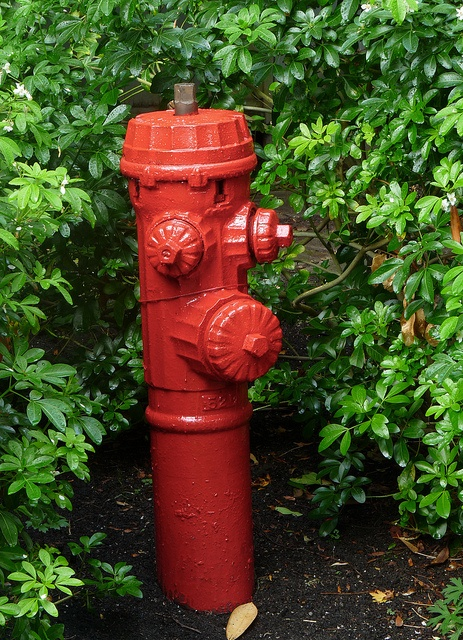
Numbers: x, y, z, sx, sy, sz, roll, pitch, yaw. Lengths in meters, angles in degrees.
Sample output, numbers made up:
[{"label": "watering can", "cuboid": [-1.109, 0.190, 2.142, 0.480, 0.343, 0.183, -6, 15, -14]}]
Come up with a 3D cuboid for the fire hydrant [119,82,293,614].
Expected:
[{"label": "fire hydrant", "cuboid": [-0.035, 0.133, 1.675, 0.444, 1.513, 0.345, -5, 16, -8]}]
